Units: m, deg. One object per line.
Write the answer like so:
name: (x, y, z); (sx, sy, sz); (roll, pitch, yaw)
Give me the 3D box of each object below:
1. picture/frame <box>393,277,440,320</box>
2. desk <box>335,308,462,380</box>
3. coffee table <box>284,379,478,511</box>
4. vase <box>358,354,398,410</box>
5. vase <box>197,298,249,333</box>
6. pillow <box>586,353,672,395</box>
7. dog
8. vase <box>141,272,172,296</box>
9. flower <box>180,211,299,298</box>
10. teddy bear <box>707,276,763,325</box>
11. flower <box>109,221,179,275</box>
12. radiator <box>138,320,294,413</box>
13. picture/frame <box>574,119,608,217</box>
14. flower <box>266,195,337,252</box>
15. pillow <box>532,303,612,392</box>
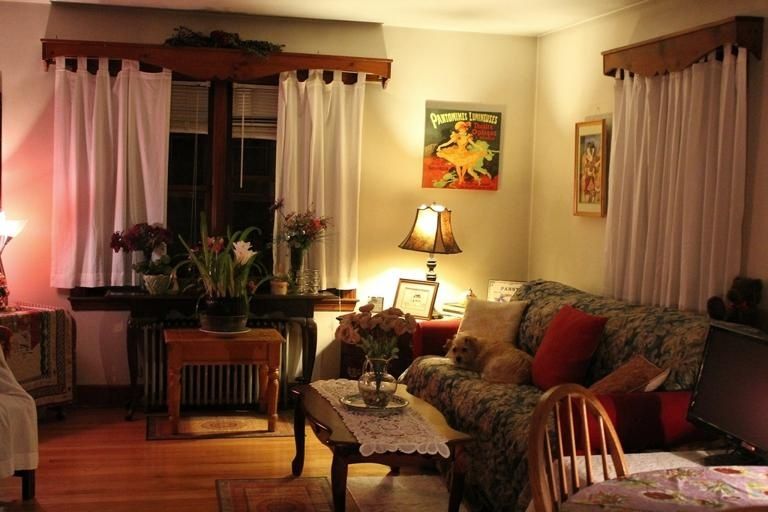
picture/frame: (0.289, 0.382, 5.729); (0.351, 0.296, 0.038); (11, -17, 29)
desk: (0.131, 0.964, 5.640); (1.137, 1.007, 0.639); (-1, -6, 2)
coffee table: (0.000, 1.068, 3.888); (0.777, 0.577, 1.184); (2, 4, -18)
vase: (-0.044, 0.789, 3.996); (0.292, 0.343, 0.273); (1, -8, 1)
vase: (-1.266, 0.442, 5.138); (0.305, 0.223, 0.310); (-1, -2, 36)
pillow: (1.487, 0.745, 3.910); (0.295, 0.091, 0.284); (-26, 9, -19)
dog: (0.901, 0.765, 4.979); (0.487, 0.265, 0.768); (-7, 6, -33)
vase: (-1.869, 0.230, 5.370); (0.189, 0.129, 0.185); (0, 0, -9)
flower: (-1.254, 0.003, 5.452); (0.761, 0.497, 0.737); (0, -1, -14)
teddy bear: (2.287, 0.288, 4.216); (0.316, 0.287, 0.210); (5, 9, 18)
flower: (-2.043, -0.063, 5.573); (0.469, 0.455, 0.460); (-3, 4, -15)
radiator: (-1.664, 0.977, 5.753); (0.086, 0.737, 1.206); (-32, -27, 31)
picture/frame: (1.779, -0.748, 5.539); (0.107, 0.804, 0.415); (-1, 9, -22)
flower: (-0.703, -0.294, 5.720); (0.455, 0.306, 0.465); (2, 1, 24)
pillow: (1.322, 0.594, 4.760); (0.476, 0.747, 0.887); (-1, 2, -9)
